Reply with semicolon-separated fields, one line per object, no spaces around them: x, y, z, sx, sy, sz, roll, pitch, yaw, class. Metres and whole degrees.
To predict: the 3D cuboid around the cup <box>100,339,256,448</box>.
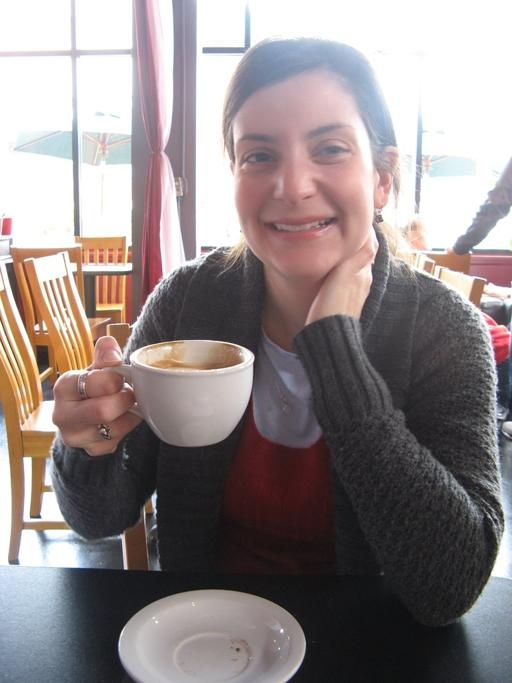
-0.081;0.045;0.624;0.144;0.091;0.116;3;14;13;cup

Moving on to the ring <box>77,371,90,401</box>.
-0.212;0.052;0.696;0.010;0.030;0.022;-4;-22;-6;ring

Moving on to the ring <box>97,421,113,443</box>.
-0.195;0.116;0.737;0.016;0.023;0.008;28;46;25;ring
